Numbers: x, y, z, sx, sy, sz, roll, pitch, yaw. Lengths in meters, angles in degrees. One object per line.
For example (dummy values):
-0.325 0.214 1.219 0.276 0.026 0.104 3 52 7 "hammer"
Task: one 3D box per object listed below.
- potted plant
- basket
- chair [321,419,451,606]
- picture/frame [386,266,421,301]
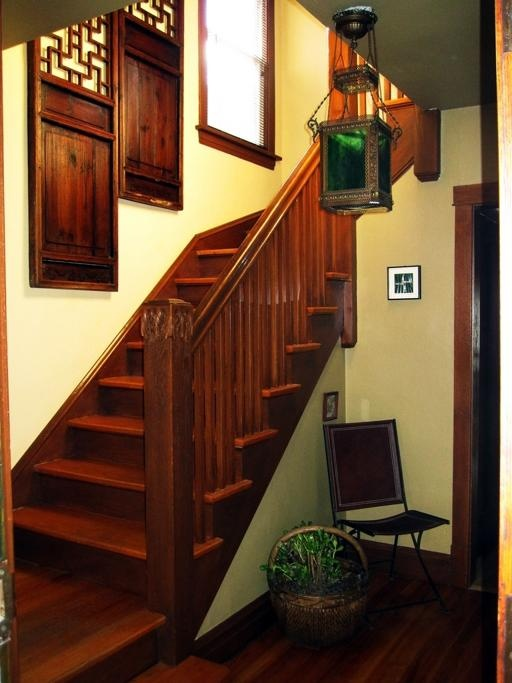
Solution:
0.267 1.039 2.679 0.325 0.593 0.474 -1 2 -2 "potted plant"
0.275 1.035 2.677 0.337 0.581 0.458 0 2 -8 "basket"
0.642 0.852 3.459 0.576 1.418 0.811 -2 -3 -21 "chair"
0.904 -0.364 3.593 0.017 0.215 0.153 0 2 -45 "picture/frame"
